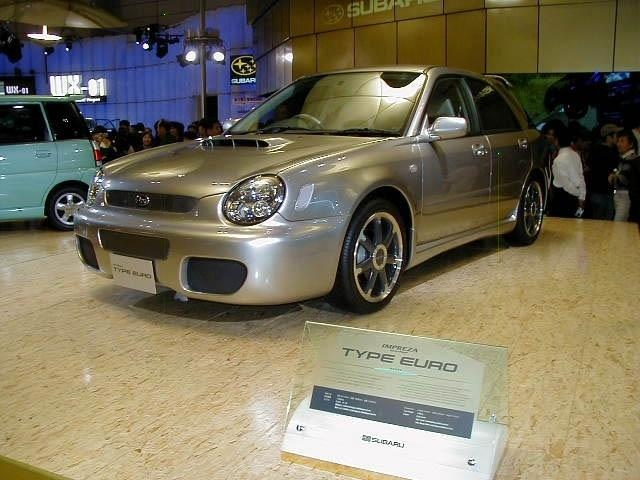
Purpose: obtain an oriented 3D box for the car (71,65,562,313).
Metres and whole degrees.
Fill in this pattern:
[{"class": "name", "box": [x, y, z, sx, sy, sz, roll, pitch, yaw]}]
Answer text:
[{"class": "car", "box": [0.296, -0.482, 3.599, 3.674, 1.264, 2.078, -5, 6, -41]}]
